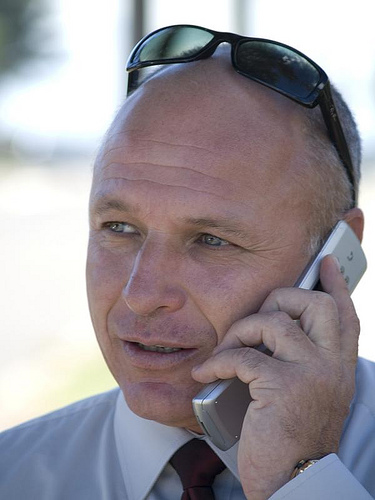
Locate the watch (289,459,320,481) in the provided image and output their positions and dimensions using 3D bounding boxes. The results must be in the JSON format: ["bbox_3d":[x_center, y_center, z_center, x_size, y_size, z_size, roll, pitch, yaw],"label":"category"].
[{"bbox_3d":[0.334,0.633,2.000,0.064,0.017,0.058,22,71,42],"label":"watch"}]
